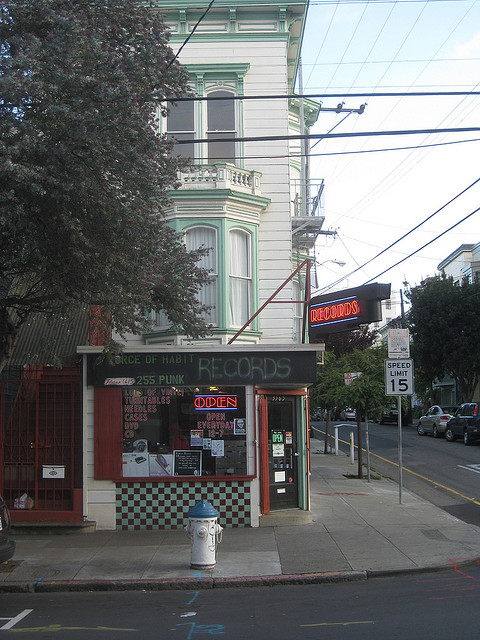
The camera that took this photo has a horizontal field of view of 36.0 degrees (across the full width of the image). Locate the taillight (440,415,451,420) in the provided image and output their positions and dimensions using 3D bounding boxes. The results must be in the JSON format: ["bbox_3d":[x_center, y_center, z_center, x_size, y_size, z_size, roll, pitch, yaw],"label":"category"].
[{"bbox_3d":[9.103,4.312,32.559,0.299,0.191,0.711,0,-5,-7],"label":"taillight"}]

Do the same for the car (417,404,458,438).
[{"bbox_3d":[9.190,4.610,33.929,1.016,0.949,2.477,0,-4,-5],"label":"car"}]

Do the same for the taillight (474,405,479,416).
[{"bbox_3d":[9.048,3.471,28.239,0.127,0.399,0.262,-2,-5,17],"label":"taillight"}]

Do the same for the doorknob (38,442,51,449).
[{"bbox_3d":[-3.278,2.113,12.348,0.191,0.097,0.046,1,-5,-19],"label":"doorknob"}]
